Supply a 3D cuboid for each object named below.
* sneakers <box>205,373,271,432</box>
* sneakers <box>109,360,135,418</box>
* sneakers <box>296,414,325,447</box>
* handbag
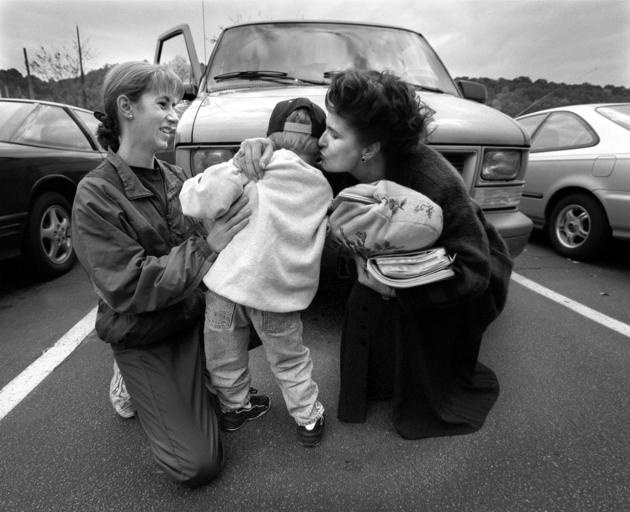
[{"bbox_3d":[-0.367,0.757,2.359,0.154,0.204,0.445,4,9,34],"label":"sneakers"},{"bbox_3d":[-0.999,0.739,2.322,0.131,0.185,0.403,-1,-8,-18],"label":"sneakers"},{"bbox_3d":[-0.019,0.867,2.181,0.067,0.094,0.197,0,7,5],"label":"sneakers"},{"bbox_3d":[0.315,-0.161,1.947,0.407,0.339,0.181,-3,-19,4],"label":"handbag"}]
